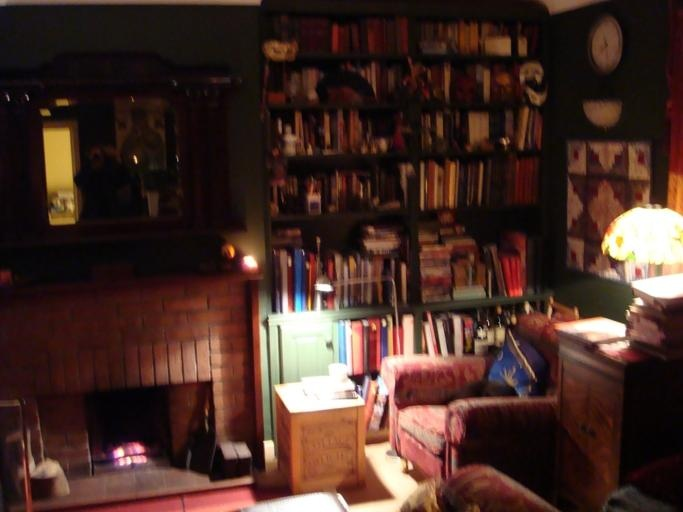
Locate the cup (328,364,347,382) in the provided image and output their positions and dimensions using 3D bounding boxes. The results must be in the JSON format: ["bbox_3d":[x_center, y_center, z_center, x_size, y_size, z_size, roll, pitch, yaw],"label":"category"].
[{"bbox_3d":[-0.027,0.815,4.451,0.107,0.092,0.110,1,10,0],"label":"cup"}]

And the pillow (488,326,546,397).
[{"bbox_3d":[1.246,0.657,4.412,0.433,0.159,0.409,-11,17,23],"label":"pillow"}]

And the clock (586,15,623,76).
[{"bbox_3d":[1.820,-1.455,4.323,0.034,0.392,0.290,-4,4,-24],"label":"clock"}]

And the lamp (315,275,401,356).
[{"bbox_3d":[0.101,0.480,4.551,0.637,0.216,0.882,2,40,-3],"label":"lamp"}]

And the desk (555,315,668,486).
[{"bbox_3d":[1.513,0.868,3.557,0.263,0.844,0.634,-6,5,-41],"label":"desk"}]

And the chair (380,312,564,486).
[{"bbox_3d":[0.853,1.017,4.275,0.832,1.135,0.970,3,5,-26],"label":"chair"}]

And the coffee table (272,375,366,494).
[{"bbox_3d":[-0.126,1.269,4.497,0.699,0.610,0.711,-8,12,-34],"label":"coffee table"}]
